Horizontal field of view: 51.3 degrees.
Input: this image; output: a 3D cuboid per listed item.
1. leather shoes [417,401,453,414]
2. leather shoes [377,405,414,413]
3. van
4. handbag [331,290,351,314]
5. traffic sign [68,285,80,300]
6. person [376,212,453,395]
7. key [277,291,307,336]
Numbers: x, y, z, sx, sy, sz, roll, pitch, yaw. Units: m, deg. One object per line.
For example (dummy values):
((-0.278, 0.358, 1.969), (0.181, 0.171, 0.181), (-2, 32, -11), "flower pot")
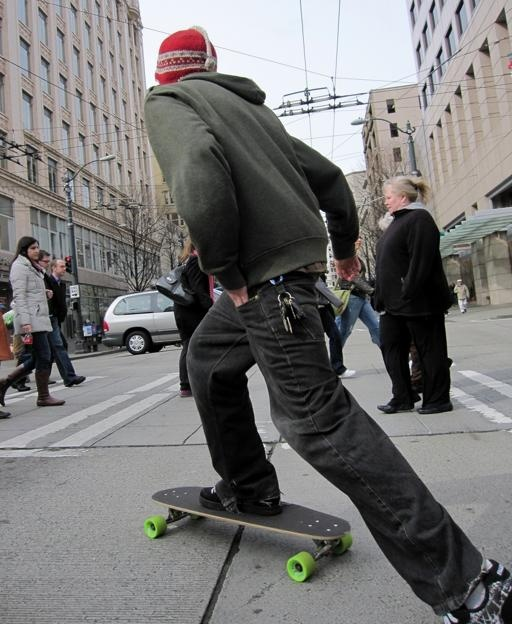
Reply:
((1.497, 0.805, 4.489), (0.293, 0.103, 0.101), (1, -3, -1), "leather shoes")
((1.205, 0.835, 4.600), (0.293, 0.080, 0.099), (3, -8, 4), "leather shoes")
((-2.591, 0.080, 18.204), (4.729, 1.937, 2.177), (-8, 0, 4), "van")
((0.846, -0.121, 5.287), (0.127, 0.285, 0.239), (9, -1, -19), "handbag")
((-7.656, -0.832, 22.702), (0.560, 0.913, 0.706), (0, 3, -14), "traffic sign")
((1.530, 0.100, 5.441), (0.759, 2.111, 0.483), (-11, 2, -7), "person")
((0.107, 0.000, 1.615), (0.071, 0.126, 0.042), (-7, 1, 0), "key")
